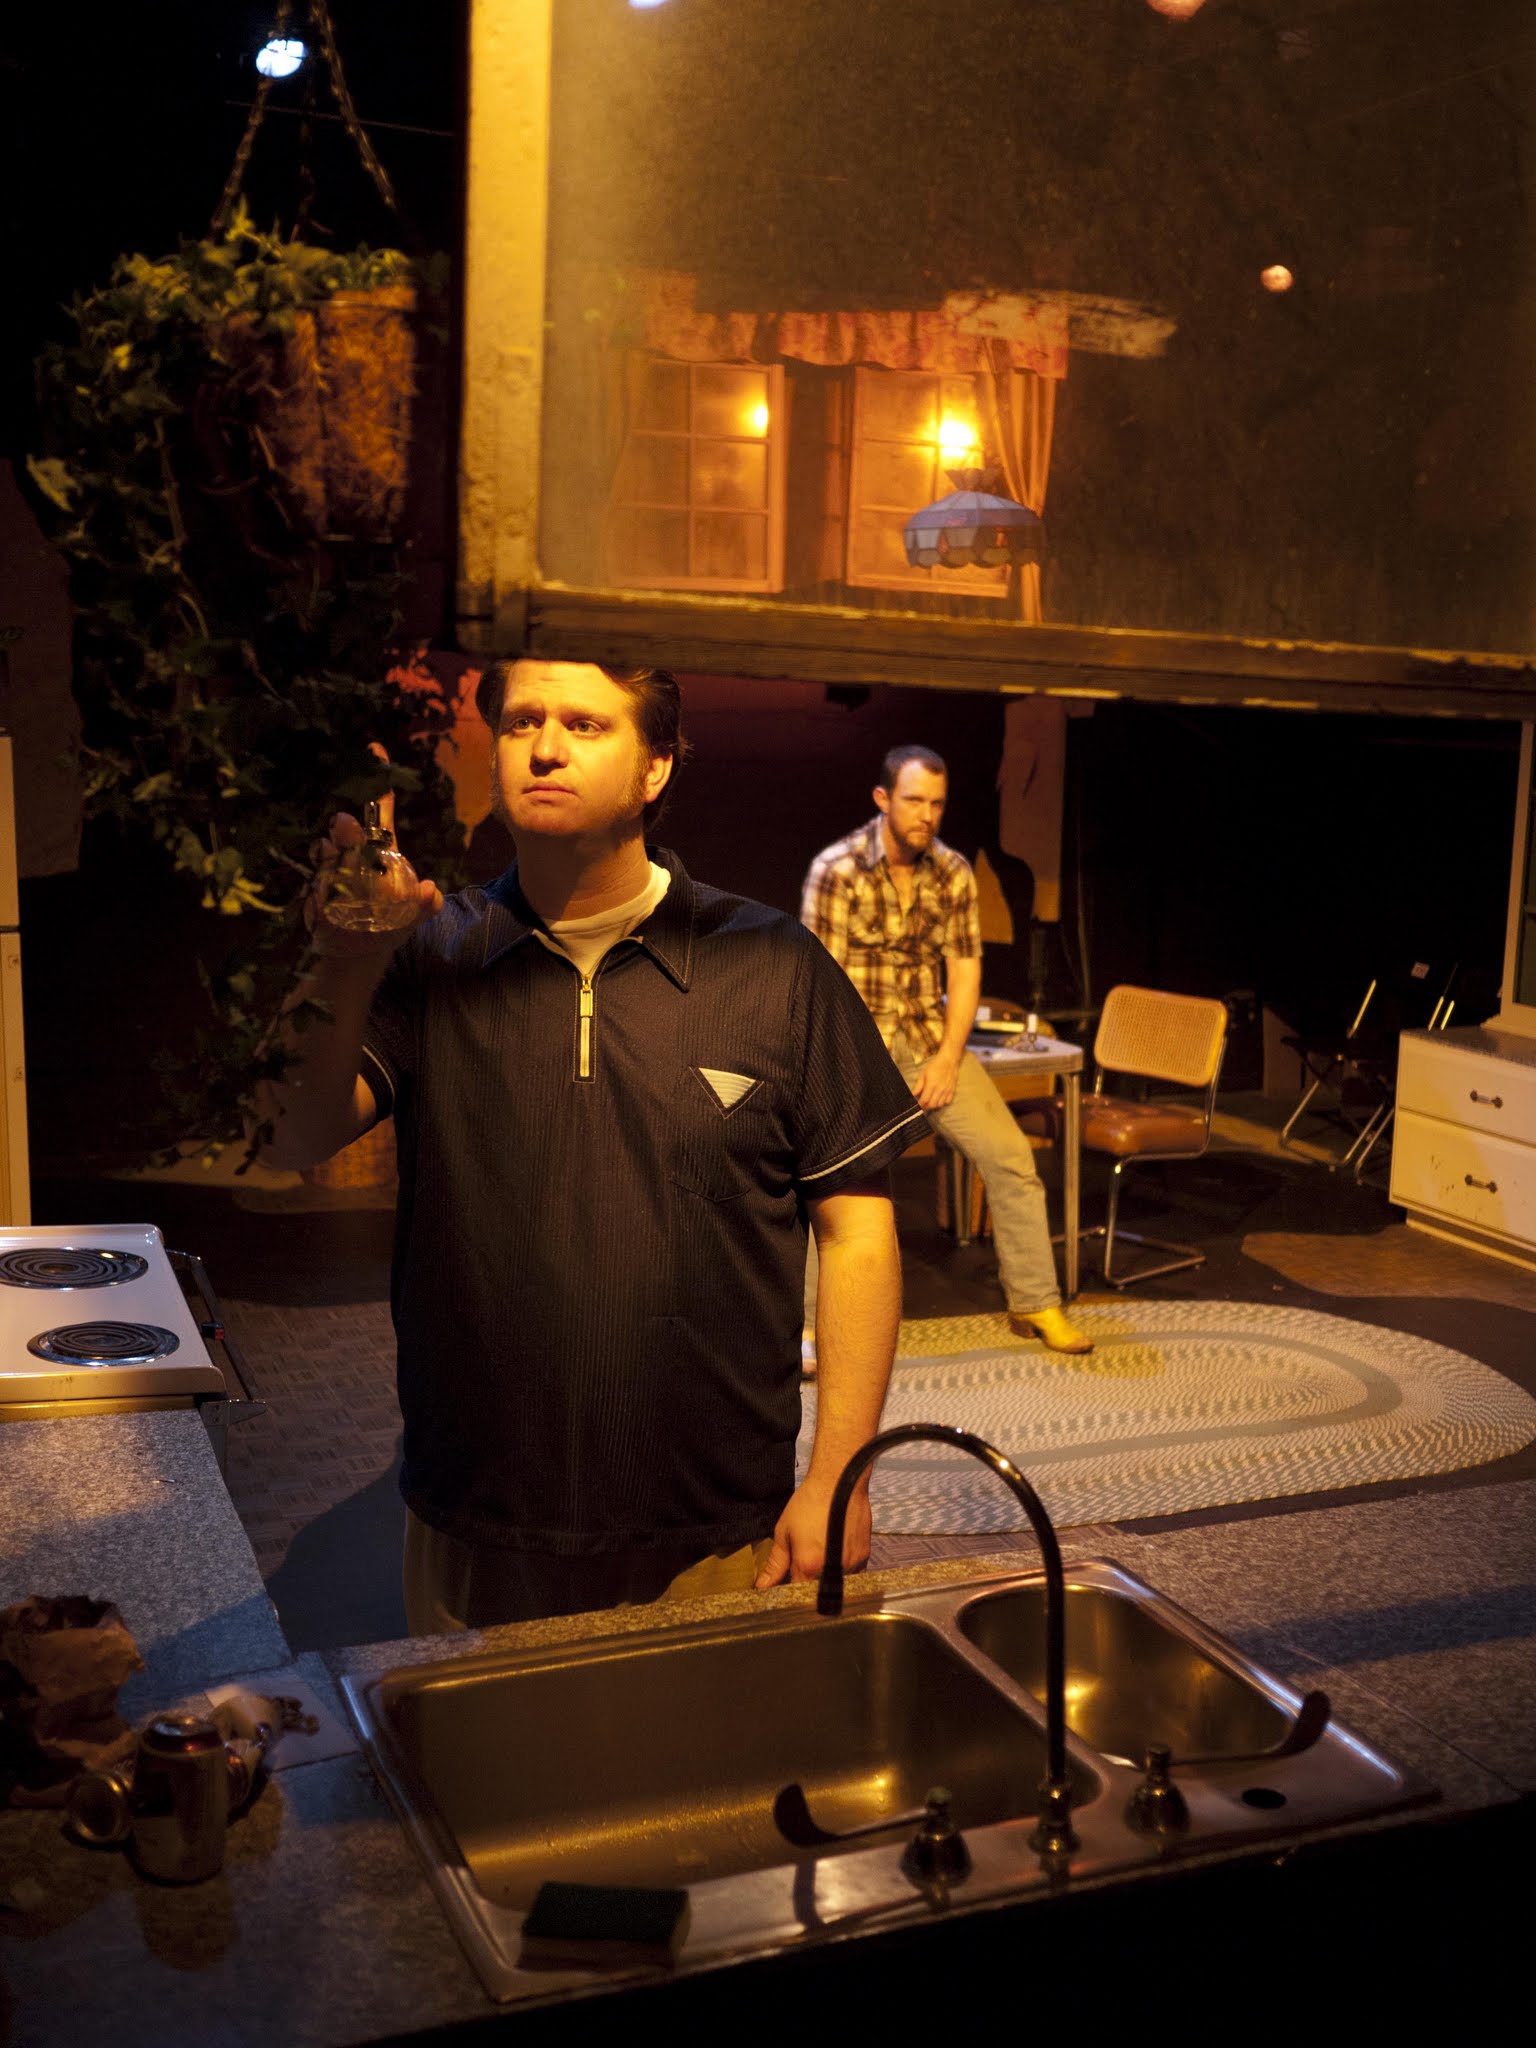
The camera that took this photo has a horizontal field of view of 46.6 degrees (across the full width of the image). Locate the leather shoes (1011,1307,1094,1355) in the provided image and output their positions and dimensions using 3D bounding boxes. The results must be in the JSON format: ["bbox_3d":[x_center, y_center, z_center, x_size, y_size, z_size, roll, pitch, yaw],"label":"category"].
[{"bbox_3d":[0.916,0.978,5.760,0.109,0.110,0.279,-9,10,-40],"label":"leather shoes"}]

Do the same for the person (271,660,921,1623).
[{"bbox_3d":[-0.166,0.150,1.842,0.680,0.998,0.504,-2,7,-25],"label":"person"}]

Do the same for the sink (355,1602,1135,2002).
[{"bbox_3d":[-0.043,0.642,1.530,0.427,0.151,0.326,0,3,-23],"label":"sink"}]

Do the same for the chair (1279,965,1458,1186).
[{"bbox_3d":[2.938,0.115,8.957,0.727,0.844,0.684,13,12,39],"label":"chair"}]

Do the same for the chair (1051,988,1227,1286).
[{"bbox_3d":[1.305,0.393,6.683,0.769,0.979,0.758,-2,10,-10],"label":"chair"}]
